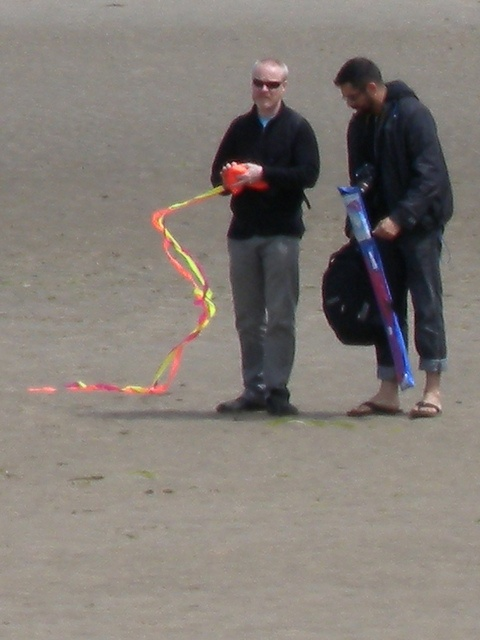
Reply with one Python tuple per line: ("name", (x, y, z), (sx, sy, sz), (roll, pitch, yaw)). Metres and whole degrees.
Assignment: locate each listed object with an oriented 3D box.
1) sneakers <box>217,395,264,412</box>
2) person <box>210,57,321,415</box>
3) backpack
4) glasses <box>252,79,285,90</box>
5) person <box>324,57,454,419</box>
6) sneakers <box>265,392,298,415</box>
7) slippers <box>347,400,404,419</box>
("sneakers", (0.017, 0.425, 6.782), (0.277, 0.110, 0.088), (-1, 16, -9))
("person", (0.106, -0.370, 6.506), (0.508, 1.737, 0.380), (5, 19, 9))
("backpack", (0.542, -0.112, 6.584), (0.462, 0.431, 0.111), (10, 7, 27))
("glasses", (0.125, -1.100, 6.277), (0.110, 0.047, 0.049), (5, 18, 9))
("person", (0.731, -0.370, 6.484), (0.646, 1.743, 0.424), (7, 19, 14))
("sneakers", (0.198, 0.403, 6.597), (0.158, 0.144, 0.093), (0, 10, -5))
("slippers", (0.665, 0.437, 6.665), (0.225, 0.060, 0.097), (2, -2, -4))
